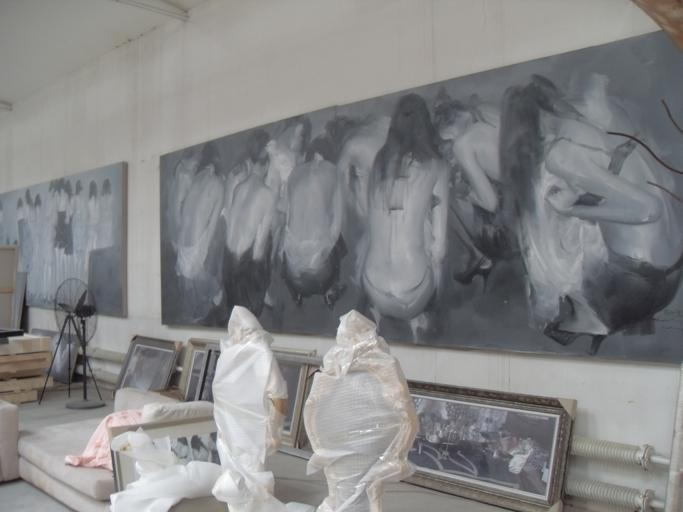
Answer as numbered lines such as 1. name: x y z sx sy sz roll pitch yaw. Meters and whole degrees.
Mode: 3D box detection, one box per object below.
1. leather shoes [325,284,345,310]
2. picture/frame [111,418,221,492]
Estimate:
1. leather shoes: -0.067 0.395 5.354 0.159 0.257 0.057 39 28 26
2. picture/frame: -1.280 1.410 3.855 0.740 0.424 0.178 3 -4 -29
